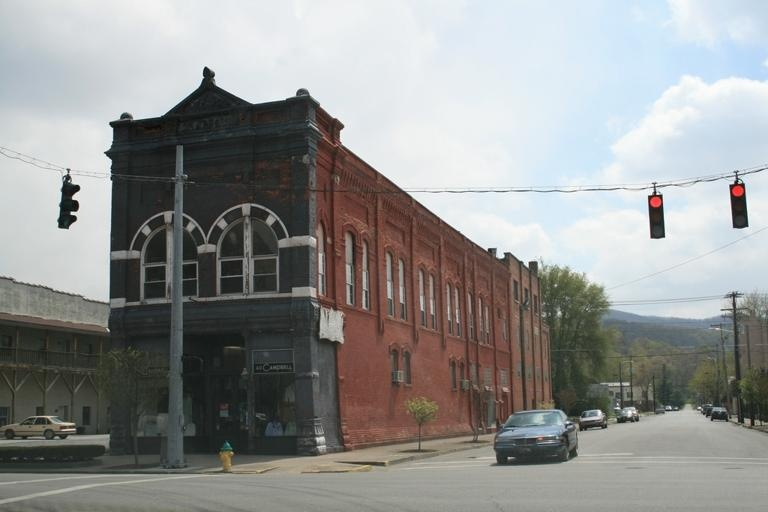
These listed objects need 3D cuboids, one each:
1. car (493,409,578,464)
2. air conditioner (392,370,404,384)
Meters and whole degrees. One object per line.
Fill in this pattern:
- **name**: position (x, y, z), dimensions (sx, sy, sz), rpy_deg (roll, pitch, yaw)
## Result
- **car**: position (6.809, 7.856, 40.762), dimensions (2.712, 2.537, 3.982), rpy_deg (-16, -20, 40)
- **air conditioner**: position (0.822, 6.805, 52.419), dimensions (0.295, 0.899, 1.556), rpy_deg (-6, -16, 15)
